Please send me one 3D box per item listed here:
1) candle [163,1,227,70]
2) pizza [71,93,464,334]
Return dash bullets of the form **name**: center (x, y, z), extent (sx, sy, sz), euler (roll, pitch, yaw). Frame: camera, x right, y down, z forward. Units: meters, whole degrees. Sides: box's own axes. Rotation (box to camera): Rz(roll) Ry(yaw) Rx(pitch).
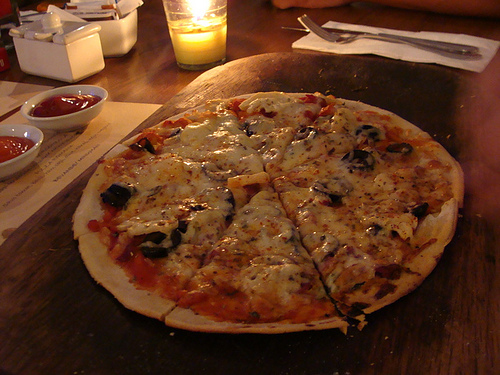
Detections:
- **candle**: center (-0.292, -0.868, 2.588), extent (0.334, 0.401, 0.189), euler (-5, 52, -4)
- **pizza**: center (0.039, 0.010, 1.715), extent (1.351, 0.150, 1.237), euler (20, 47, 20)
